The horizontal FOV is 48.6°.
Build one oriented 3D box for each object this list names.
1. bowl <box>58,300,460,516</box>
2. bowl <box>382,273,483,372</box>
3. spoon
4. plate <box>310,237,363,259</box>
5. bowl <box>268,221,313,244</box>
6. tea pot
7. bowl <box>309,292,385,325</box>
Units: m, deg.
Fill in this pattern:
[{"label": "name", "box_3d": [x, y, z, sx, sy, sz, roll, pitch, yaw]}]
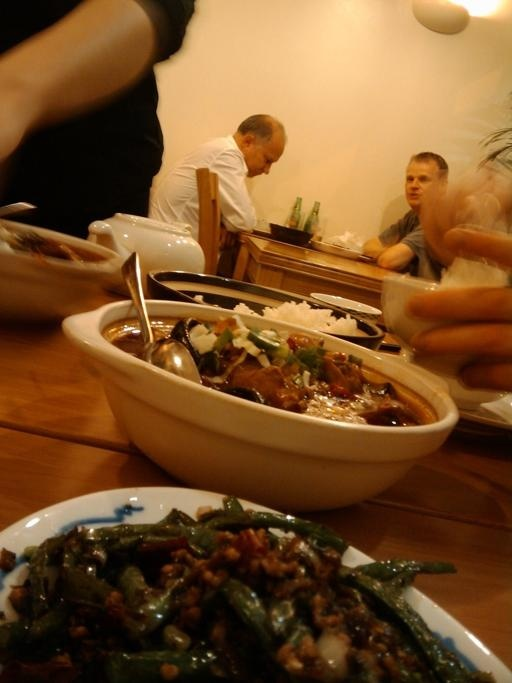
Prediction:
[{"label": "bowl", "box_3d": [-0.013, 0.069, 0.500, 0.308, 0.101, 0.250, 13, 9, 4]}, {"label": "bowl", "box_3d": [0.253, -0.036, 0.875, 0.135, 0.099, 0.137, -1, 19, 0]}, {"label": "spoon", "box_3d": [-0.129, -0.052, 0.679, 0.066, 0.038, 0.284, -5, 43, -22]}, {"label": "plate", "box_3d": [0.551, -0.620, 3.865, 0.229, 0.046, 0.215, 15, 14, 1]}, {"label": "bowl", "box_3d": [0.209, -0.682, 3.634, 0.197, 0.065, 0.190, 13, 9, -2]}, {"label": "tea pot", "box_3d": [-0.242, -0.190, 1.322, 0.188, 0.129, 0.243, 23, 16, 40]}, {"label": "bowl", "box_3d": [0.226, -0.093, 1.445, 0.125, 0.034, 0.117, 13, 11, -3]}]
